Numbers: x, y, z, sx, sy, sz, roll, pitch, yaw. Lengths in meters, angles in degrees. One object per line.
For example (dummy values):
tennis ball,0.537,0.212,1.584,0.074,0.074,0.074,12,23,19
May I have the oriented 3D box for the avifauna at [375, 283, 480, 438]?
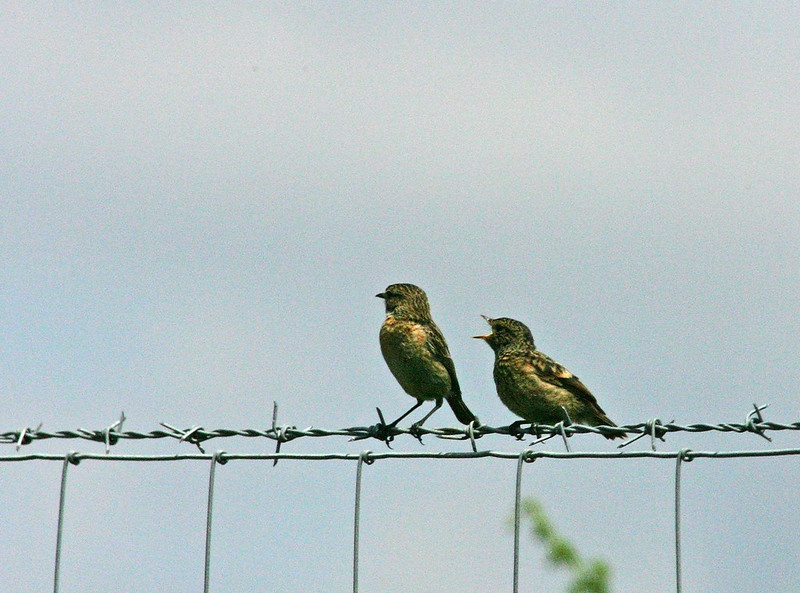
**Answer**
avifauna,0.154,0.420,12.108,0.604,1.174,0.774,-9,-9,1
